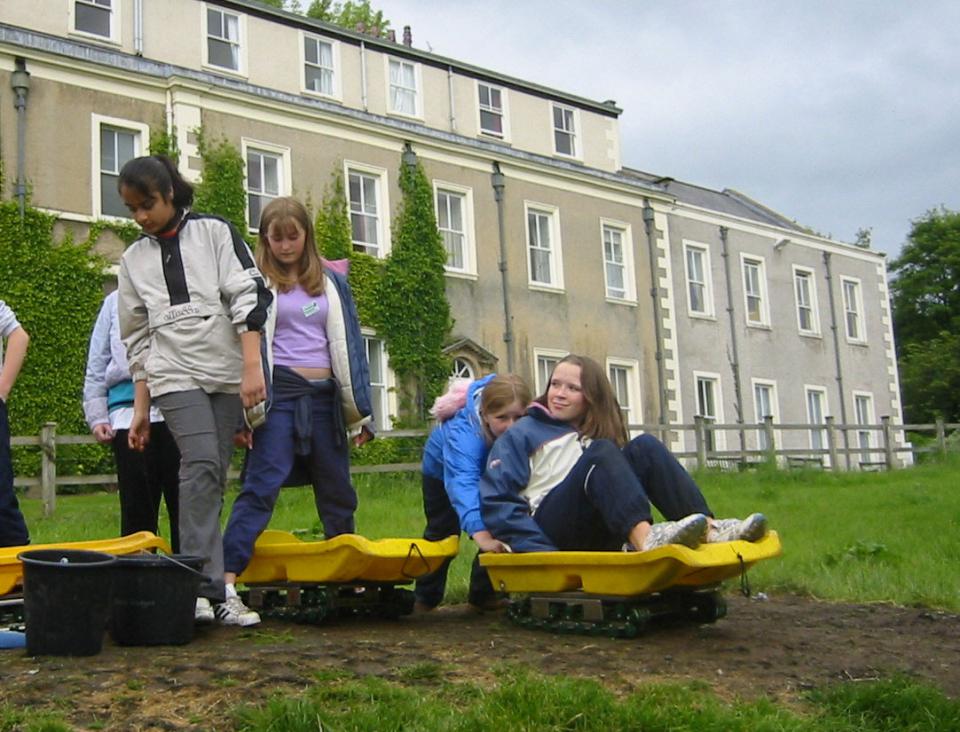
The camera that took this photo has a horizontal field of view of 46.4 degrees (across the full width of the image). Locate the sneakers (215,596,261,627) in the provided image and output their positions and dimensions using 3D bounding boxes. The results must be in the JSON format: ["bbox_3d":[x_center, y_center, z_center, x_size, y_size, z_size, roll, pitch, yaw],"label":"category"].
[{"bbox_3d":[-1.305,1.312,6.023,0.270,0.127,0.105,3,6,8],"label":"sneakers"}]

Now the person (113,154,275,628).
[{"bbox_3d":[-1.554,0.151,6.146,0.794,2.513,0.570,0,-6,-19],"label":"person"}]

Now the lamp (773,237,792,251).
[{"bbox_3d":[7.633,-3.072,28.284,0.381,0.102,0.358,0,-22,-39],"label":"lamp"}]

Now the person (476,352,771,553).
[{"bbox_3d":[0.739,0.484,6.216,0.895,1.180,1.666,-2,-5,-36],"label":"person"}]
